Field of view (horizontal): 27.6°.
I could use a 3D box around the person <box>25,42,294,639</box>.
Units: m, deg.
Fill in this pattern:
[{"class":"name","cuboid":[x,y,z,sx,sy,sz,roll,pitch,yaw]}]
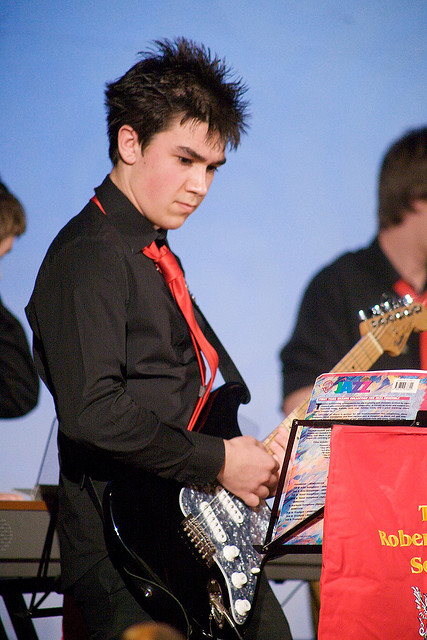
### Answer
[{"class":"person","cuboid":[-0.133,0.057,1.945,0.545,1.316,0.545,-3,-2,2]}]
